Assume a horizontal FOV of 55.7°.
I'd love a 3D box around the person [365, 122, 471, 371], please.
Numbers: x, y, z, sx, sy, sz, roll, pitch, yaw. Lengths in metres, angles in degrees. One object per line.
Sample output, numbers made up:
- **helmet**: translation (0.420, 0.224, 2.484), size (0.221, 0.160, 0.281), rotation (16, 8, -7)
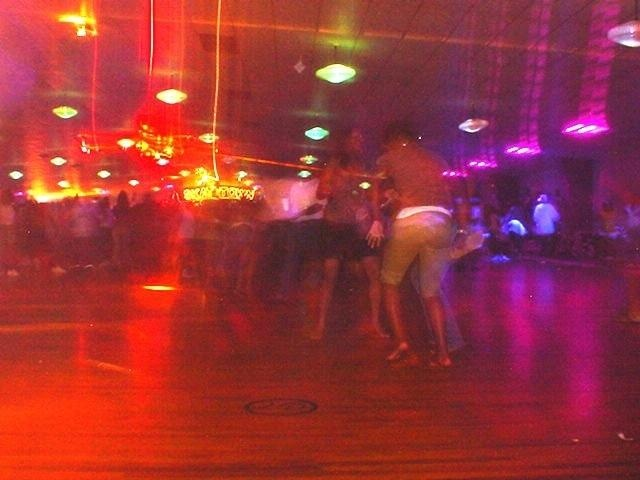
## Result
- **person**: translation (0.780, 0.007, 4.884), size (0.677, 1.865, 0.814), rotation (-1, 6, -5)
